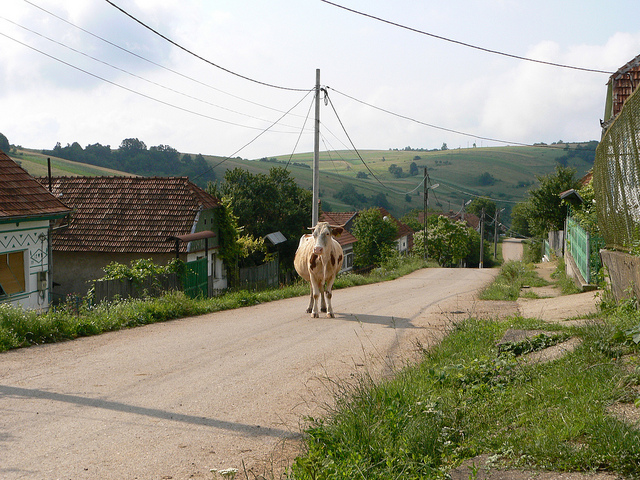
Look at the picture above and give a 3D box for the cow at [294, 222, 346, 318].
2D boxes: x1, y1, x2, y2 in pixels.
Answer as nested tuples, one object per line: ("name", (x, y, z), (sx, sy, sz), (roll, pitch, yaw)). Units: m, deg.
("cow", (-0.012, 0.723, 16.798), (1.155, 2.336, 2.778), (0, 2, -3))
